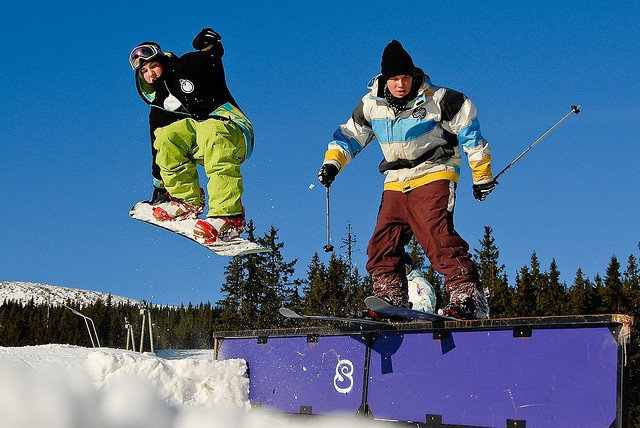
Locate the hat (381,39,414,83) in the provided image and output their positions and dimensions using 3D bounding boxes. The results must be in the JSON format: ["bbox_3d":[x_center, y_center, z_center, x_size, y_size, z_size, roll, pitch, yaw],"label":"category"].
[{"bbox_3d":[0.992,-2.033,10.750,0.425,0.526,0.354,-6,-6,6],"label":"hat"}]
